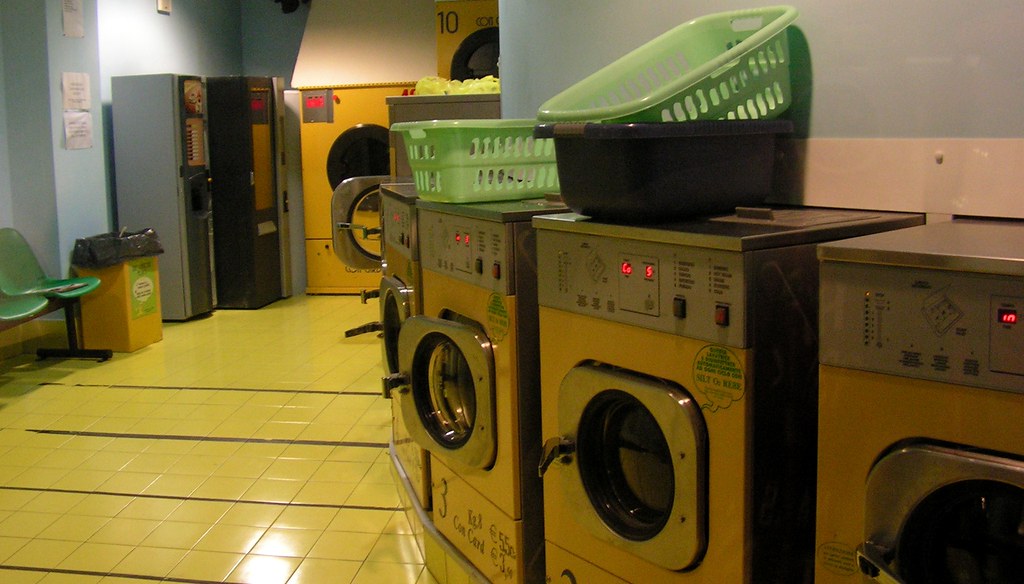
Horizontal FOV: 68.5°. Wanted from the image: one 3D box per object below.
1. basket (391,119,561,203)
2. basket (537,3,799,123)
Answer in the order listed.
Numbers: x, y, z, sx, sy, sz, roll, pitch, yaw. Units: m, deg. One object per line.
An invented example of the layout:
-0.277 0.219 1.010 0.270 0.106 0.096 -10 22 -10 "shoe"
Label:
-0.127 -0.522 3.101 0.527 0.206 0.393 -7 11 -32 "basket"
0.580 -0.809 2.654 0.912 0.399 0.546 -1 14 0 "basket"
